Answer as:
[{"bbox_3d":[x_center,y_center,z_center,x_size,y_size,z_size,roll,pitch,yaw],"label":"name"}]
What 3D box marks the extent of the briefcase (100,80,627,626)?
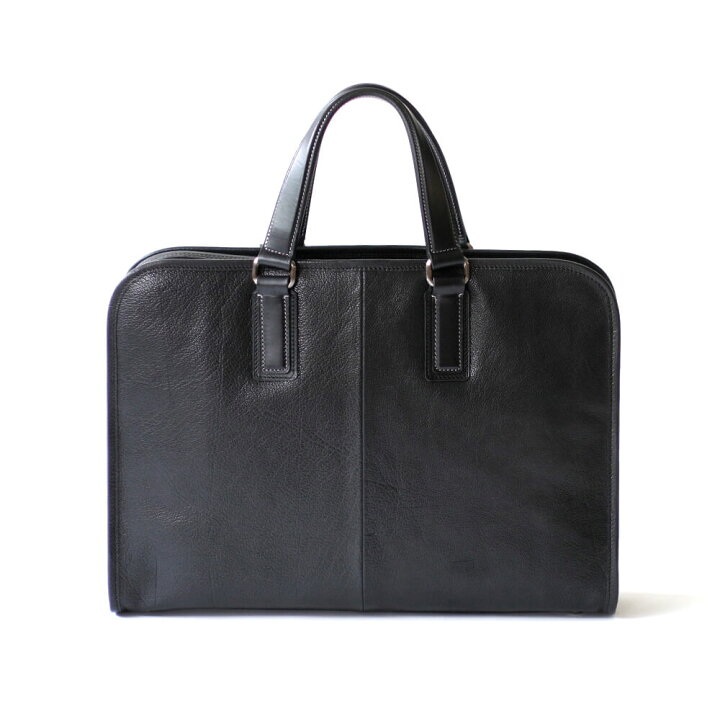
[{"bbox_3d":[0.005,-0.007,1.529,0.884,0.861,0.393,1,-20,-6],"label":"briefcase"}]
